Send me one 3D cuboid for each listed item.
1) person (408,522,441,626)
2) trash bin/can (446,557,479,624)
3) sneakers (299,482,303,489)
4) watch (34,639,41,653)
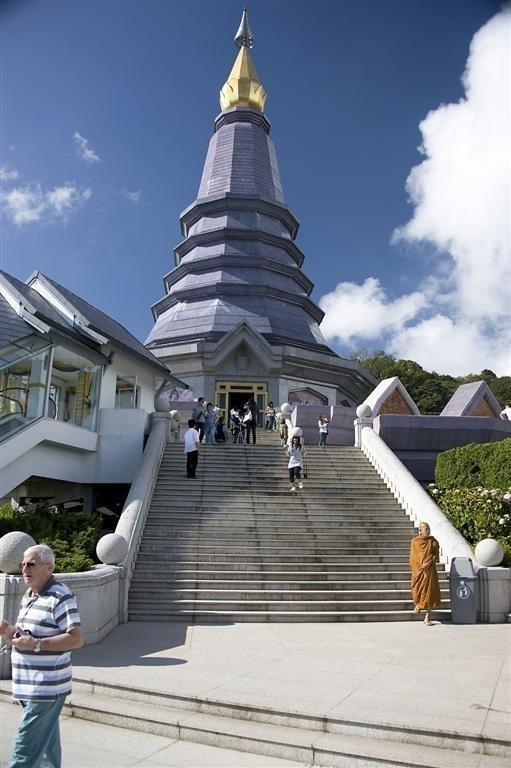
[{"bbox_3d":[2.633,2.953,9.113,0.423,1.537,0.508,-2,-9,14],"label":"person"},{"bbox_3d":[3.239,3.234,9.107,0.405,0.945,0.314,0,-8,-1],"label":"trash bin/can"},{"bbox_3d":[1.082,2.470,14.077,0.066,0.200,0.143,-5,28,2],"label":"sneakers"},{"bbox_3d":[-1.091,1.315,2.903,0.029,0.080,0.096,3,-9,-20],"label":"watch"}]
